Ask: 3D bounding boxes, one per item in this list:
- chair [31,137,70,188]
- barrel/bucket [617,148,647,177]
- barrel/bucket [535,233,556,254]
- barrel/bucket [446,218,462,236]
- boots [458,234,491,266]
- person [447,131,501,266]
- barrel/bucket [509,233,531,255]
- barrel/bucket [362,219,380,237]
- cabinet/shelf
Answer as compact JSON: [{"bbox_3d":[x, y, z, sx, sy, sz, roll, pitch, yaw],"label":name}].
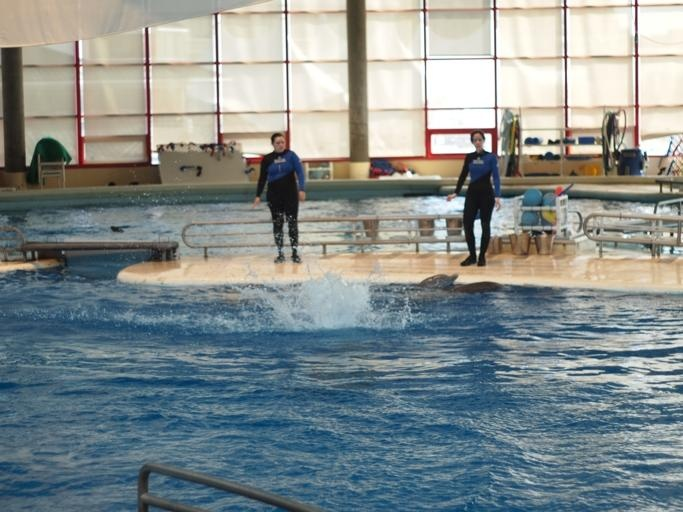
[{"bbox_3d":[-7.681,-2.418,28.261,1.454,1.354,0.664,-5,-7,-25],"label":"chair"},{"bbox_3d":[7.563,-2.416,27.742,0.729,0.708,0.668,-1,1,0],"label":"barrel/bucket"},{"bbox_3d":[2.711,-0.158,14.282,0.264,0.264,0.170,-1,5,8],"label":"barrel/bucket"},{"bbox_3d":[1.583,-0.422,15.074,0.252,0.279,0.279,-1,3,6],"label":"barrel/bucket"},{"bbox_3d":[1.627,-0.047,13.490,0.468,0.444,0.232,6,6,4],"label":"boots"},{"bbox_3d":[1.682,-0.722,13.452,0.593,1.668,1.196,-1,5,8],"label":"person"},{"bbox_3d":[2.392,-0.166,14.302,0.267,0.281,0.196,-2,5,-1],"label":"barrel/bucket"},{"bbox_3d":[0.426,-0.393,15.163,0.238,0.398,0.230,-2,5,0],"label":"barrel/bucket"},{"bbox_3d":[5.996,-2.712,28.452,1.716,0.949,0.515,3,10,25],"label":"cabinet/shelf"}]
